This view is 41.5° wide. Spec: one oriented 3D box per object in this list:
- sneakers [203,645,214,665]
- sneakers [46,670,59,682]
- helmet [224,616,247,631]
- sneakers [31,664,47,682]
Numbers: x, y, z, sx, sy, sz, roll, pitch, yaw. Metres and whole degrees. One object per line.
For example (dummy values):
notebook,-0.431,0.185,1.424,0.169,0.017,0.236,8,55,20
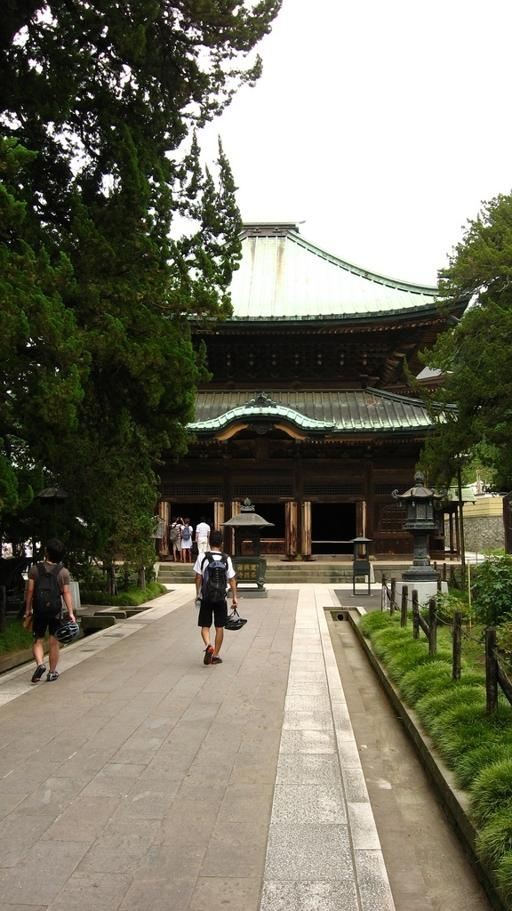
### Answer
sneakers,-0.577,2.452,8.286,0.102,0.274,0.107,3,17,-28
sneakers,-2.246,2.455,7.474,0.056,0.126,0.171,-3,-23,0
helmet,-0.245,2.079,8.118,0.250,0.131,0.334,-1,0,3
sneakers,-2.352,2.398,7.357,0.110,0.142,0.323,12,-56,-32
